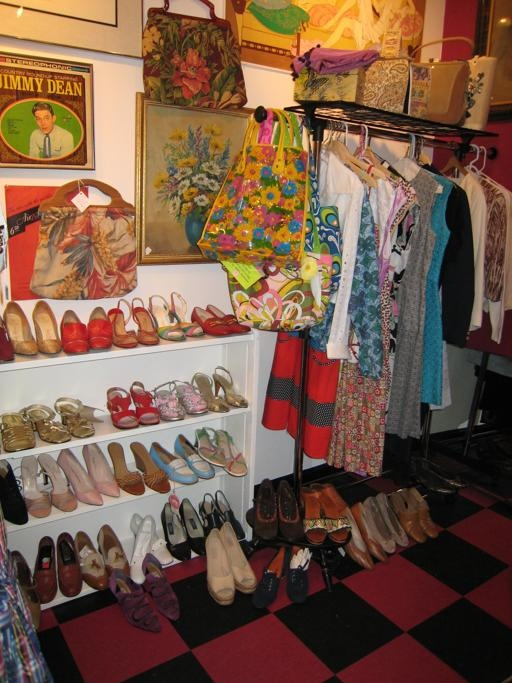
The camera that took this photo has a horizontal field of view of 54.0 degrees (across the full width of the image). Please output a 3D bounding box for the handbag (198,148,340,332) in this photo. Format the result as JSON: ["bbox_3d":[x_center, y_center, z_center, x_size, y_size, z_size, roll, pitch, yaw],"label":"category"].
[{"bbox_3d":[0.062,-0.318,1.635,0.483,0.591,0.275,2,13,-3],"label":"handbag"}]

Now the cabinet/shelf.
[{"bbox_3d":[-0.480,0.477,1.873,0.936,0.822,0.222,-13,31,-29],"label":"cabinet/shelf"}]
